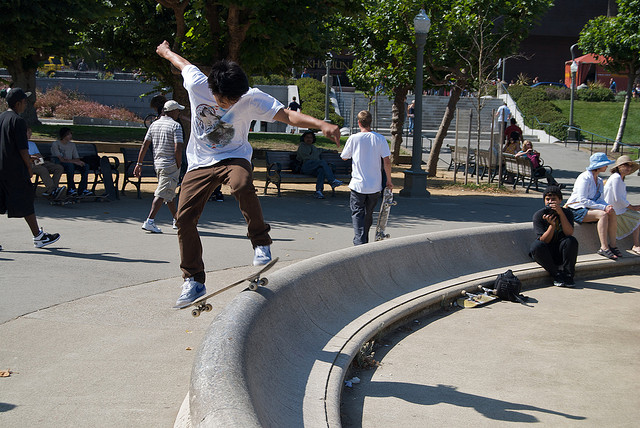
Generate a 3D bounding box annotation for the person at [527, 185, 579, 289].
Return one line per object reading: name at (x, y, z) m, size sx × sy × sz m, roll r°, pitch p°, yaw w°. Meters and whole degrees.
person at (3.934, 0.355, 12.951) m, size 0.577 × 1.614 × 0.886 m, roll -5°, pitch 16°, yaw -32°

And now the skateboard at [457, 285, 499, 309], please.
skateboard at (2.448, 1.281, 12.051) m, size 0.355 × 0.238 × 0.650 m, roll 15°, pitch 17°, yaw 42°

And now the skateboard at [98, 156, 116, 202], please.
skateboard at (-4.688, -0.809, 17.181) m, size 0.314 × 1.049 × 0.114 m, roll -7°, pitch 19°, yaw -3°

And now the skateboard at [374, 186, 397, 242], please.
skateboard at (1.035, -0.015, 13.239) m, size 0.170 × 0.895 × 0.350 m, roll 27°, pitch 19°, yaw 40°

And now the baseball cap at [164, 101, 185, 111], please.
baseball cap at (-2.642, -1.988, 14.262) m, size 0.320 × 0.103 × 0.198 m, roll -7°, pitch 14°, yaw -40°

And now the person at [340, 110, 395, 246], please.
person at (0.773, -0.523, 12.967) m, size 0.877 × 2.318 × 0.991 m, roll 4°, pitch 14°, yaw 2°

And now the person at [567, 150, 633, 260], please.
person at (4.964, -0.182, 13.757) m, size 1.108 × 1.820 × 0.627 m, roll 7°, pitch 14°, yaw 15°

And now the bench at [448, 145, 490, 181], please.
bench at (4.655, -1.571, 24.293) m, size 0.478 × 0.576 × 1.533 m, roll -10°, pitch 10°, yaw -13°

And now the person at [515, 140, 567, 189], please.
person at (7.000, -1.549, 24.630) m, size 1.052 × 1.012 × 2.964 m, roll -14°, pitch 13°, yaw 5°

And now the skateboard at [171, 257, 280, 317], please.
skateboard at (-1.273, 0.995, 10.368) m, size 1.433 × 0.218 × 0.356 m, roll -23°, pitch -8°, yaw 1°

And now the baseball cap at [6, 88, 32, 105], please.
baseball cap at (-4.931, -1.920, 12.705) m, size 0.361 × 0.176 × 0.230 m, roll -31°, pitch 28°, yaw -31°

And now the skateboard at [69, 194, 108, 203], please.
skateboard at (-4.988, -0.341, 16.844) m, size 0.684 × 0.105 × 0.179 m, roll -2°, pitch 4°, yaw -23°
